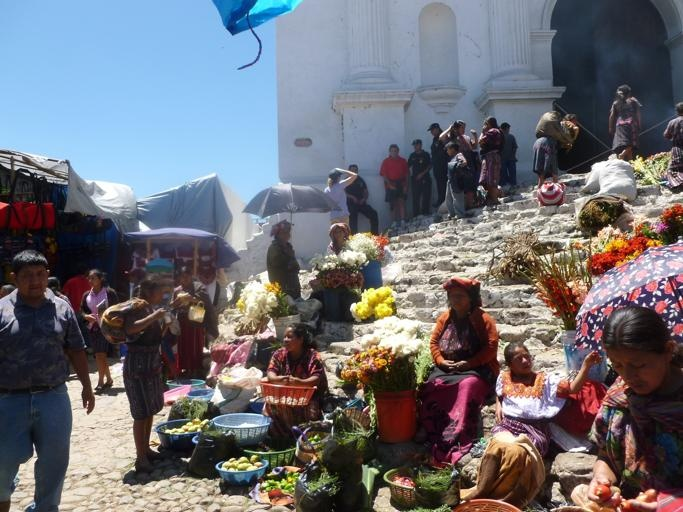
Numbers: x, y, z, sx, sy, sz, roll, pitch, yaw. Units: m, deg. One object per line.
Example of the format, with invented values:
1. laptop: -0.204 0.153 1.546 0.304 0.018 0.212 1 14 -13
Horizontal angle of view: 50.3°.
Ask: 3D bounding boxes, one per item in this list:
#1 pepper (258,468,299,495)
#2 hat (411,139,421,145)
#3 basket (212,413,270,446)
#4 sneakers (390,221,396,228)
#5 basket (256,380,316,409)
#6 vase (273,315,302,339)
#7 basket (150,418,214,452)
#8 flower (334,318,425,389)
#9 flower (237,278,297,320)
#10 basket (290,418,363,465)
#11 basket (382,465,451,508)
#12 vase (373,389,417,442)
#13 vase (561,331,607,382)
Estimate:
1. pepper: -0.702 2.476 7.978 0.291 0.174 0.316 -2 0 -6
2. hat: 1.691 -2.627 16.533 0.138 0.102 0.193 -3 0 41
3. basket: -1.272 2.082 8.735 0.670 0.251 0.682 -4 2 -36
4. sneakers: 1.160 -0.743 16.686 0.159 0.157 0.113 7 -8 -36
5. basket: -0.667 1.634 8.727 0.434 0.158 0.325 3 -6 24
6. vase: -0.837 1.008 10.692 0.383 0.298 0.400 0 -10 -3
7. basket: -1.968 2.199 8.952 0.618 0.278 0.436 -2 2 21
8. flower: 0.494 1.116 8.420 0.849 0.625 0.855 -1 1 -27
9. flower: -1.256 0.653 10.947 0.712 0.548 0.666 -18 -5 -36
10. basket: -0.179 1.932 7.846 0.702 0.322 0.782 -11 -9 28
11. basket: 0.818 2.435 7.636 0.783 0.408 0.375 -1 3 42
12. vase: 0.645 1.868 8.557 0.539 0.574 0.547 -3 -4 0
13. vase: 2.611 1.094 7.870 0.450 0.566 0.486 -2 2 18
